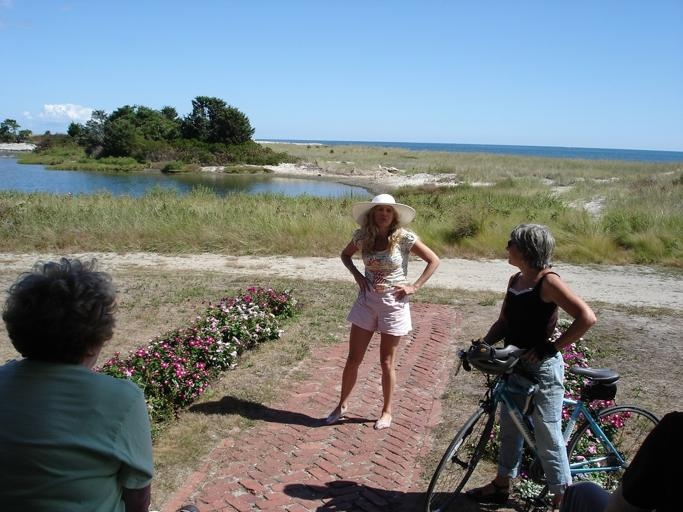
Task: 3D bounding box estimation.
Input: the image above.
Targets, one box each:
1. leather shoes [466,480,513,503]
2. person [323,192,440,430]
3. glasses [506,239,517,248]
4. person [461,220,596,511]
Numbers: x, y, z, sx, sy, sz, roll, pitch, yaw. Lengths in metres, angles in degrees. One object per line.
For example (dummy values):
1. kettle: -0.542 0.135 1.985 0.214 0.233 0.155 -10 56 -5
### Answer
1. leather shoes: 1.135 1.849 4.864 0.411 0.147 0.138 2 4 10
2. person: 0.379 0.521 5.817 1.011 2.196 0.670 2 15 9
3. glasses: 1.263 -0.087 4.591 0.061 0.062 0.079 -7 -11 35
4. person: 1.400 0.884 4.565 0.845 2.204 0.654 10 18 35
